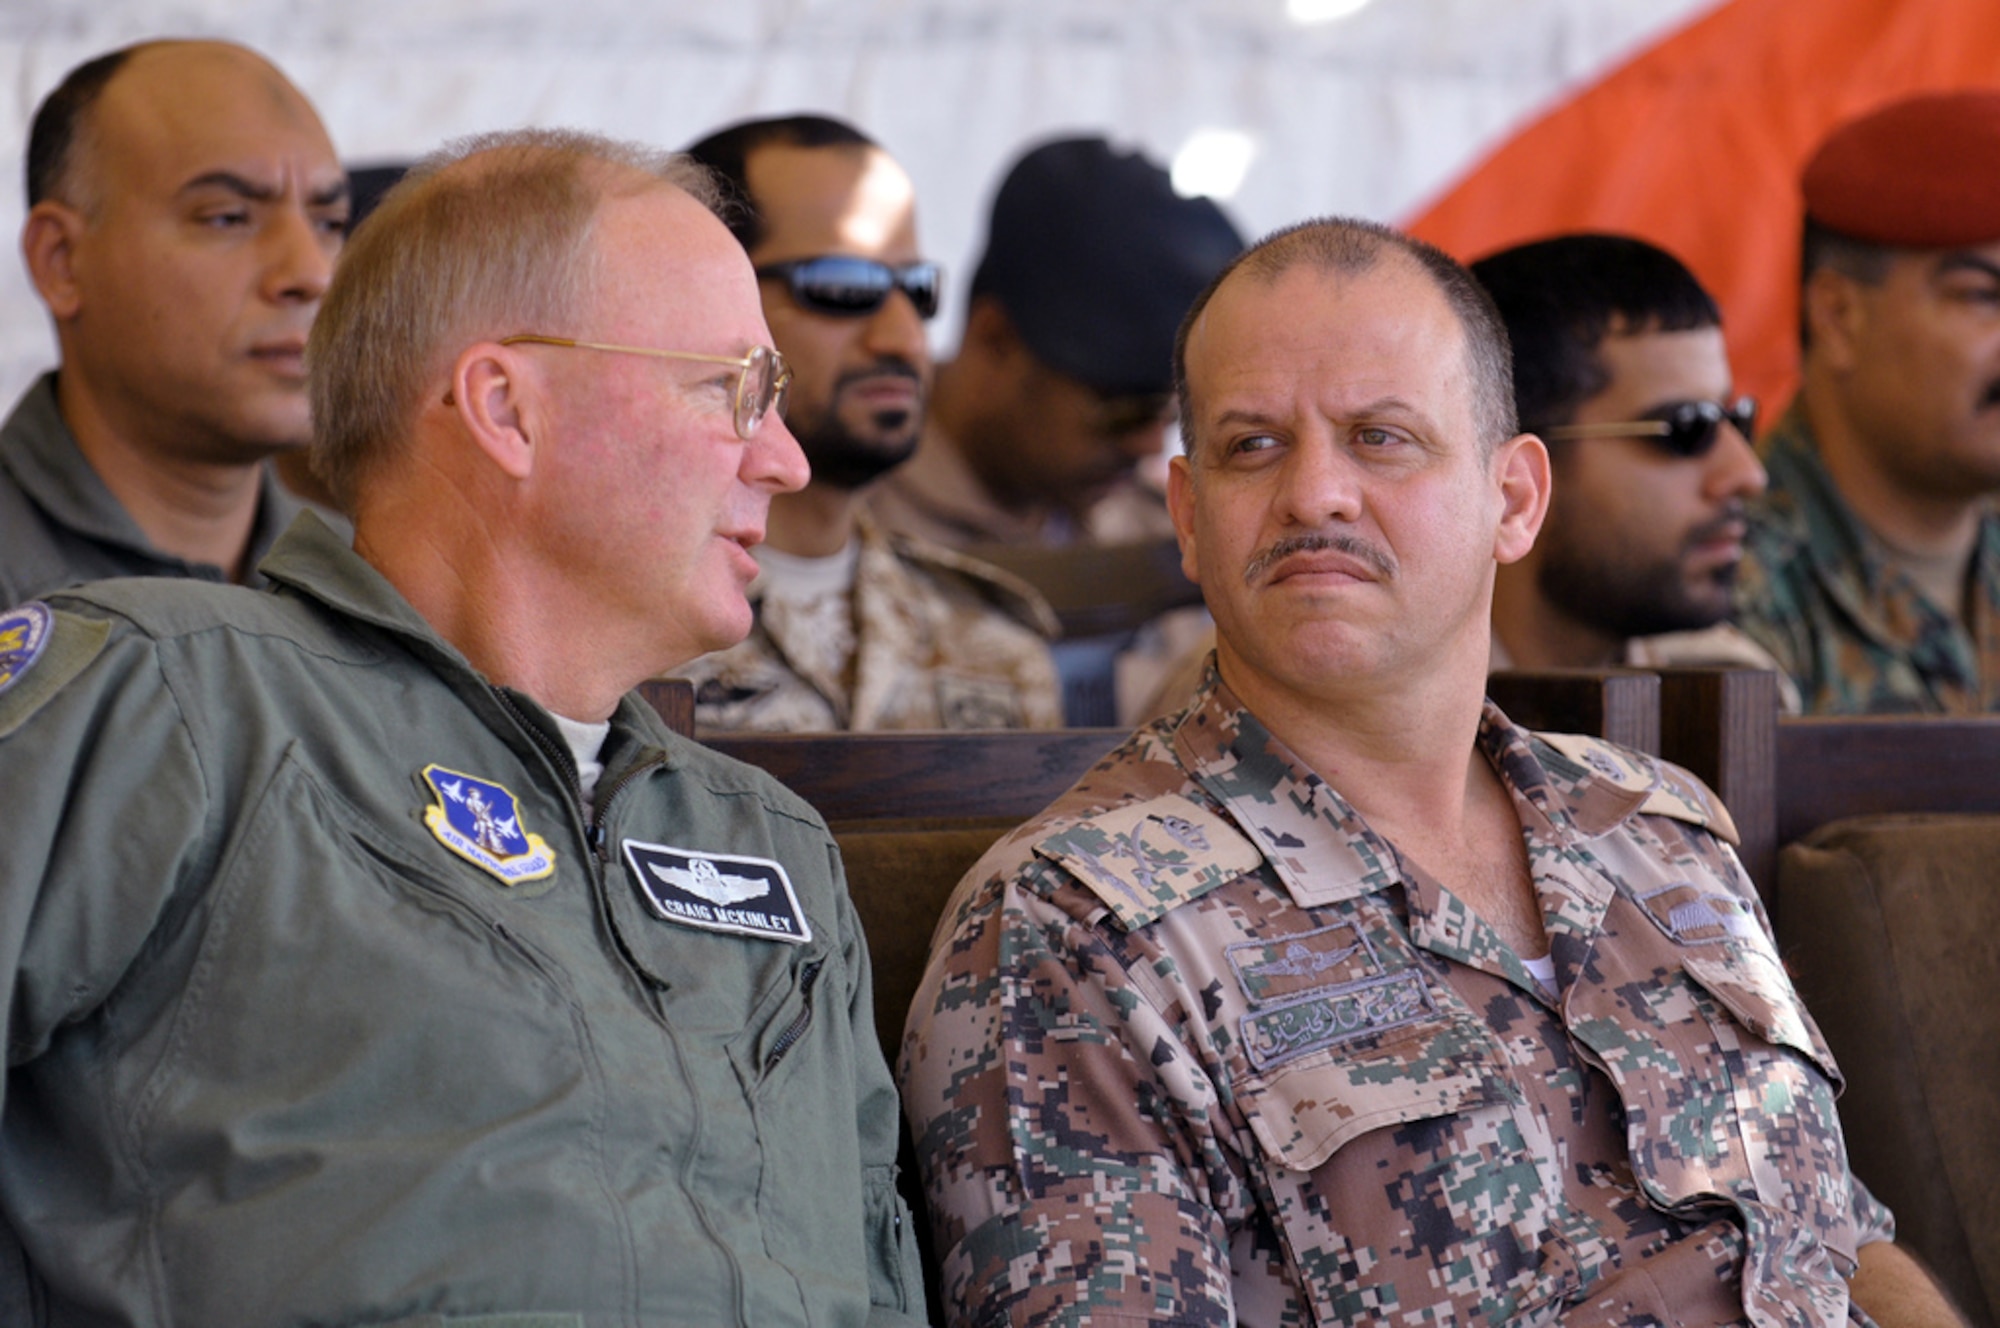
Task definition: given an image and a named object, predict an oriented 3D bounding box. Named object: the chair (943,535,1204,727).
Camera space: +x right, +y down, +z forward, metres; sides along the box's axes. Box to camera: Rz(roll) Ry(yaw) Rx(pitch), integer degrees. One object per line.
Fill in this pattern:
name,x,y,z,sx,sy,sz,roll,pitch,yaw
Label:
chair,0.150,-0.083,4.742,0.473,0.432,0.300,-1,27,3
